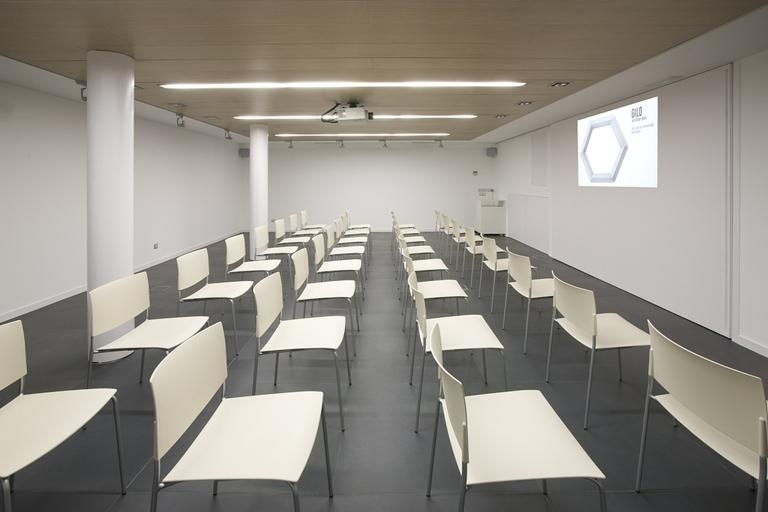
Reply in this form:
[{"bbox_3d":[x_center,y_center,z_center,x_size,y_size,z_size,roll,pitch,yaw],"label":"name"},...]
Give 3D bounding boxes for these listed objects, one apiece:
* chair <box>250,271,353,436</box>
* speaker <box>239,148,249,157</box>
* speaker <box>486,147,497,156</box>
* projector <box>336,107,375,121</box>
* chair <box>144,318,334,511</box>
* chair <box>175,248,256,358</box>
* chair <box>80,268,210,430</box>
[{"bbox_3d":[-1.042,1.151,5.763,1.278,1.820,1.732,0,5,1],"label":"chair"},{"bbox_3d":[-4.343,-3.184,15.478,0.318,0.268,0.283,4,4,1],"label":"speaker"},{"bbox_3d":[3.342,-3.248,15.612,0.326,0.275,0.308,5,4,5],"label":"speaker"},{"bbox_3d":[-0.497,-2.247,8.024,0.473,0.183,0.268,0,8,-2],"label":"projector"},{"bbox_3d":[-1.182,1.610,4.680,1.389,1.941,1.776,1,12,2],"label":"chair"},{"bbox_3d":[-2.212,0.529,6.621,0.846,1.122,1.166,3,10,3],"label":"chair"},{"bbox_3d":[-2.566,0.977,5.777,1.151,1.682,1.539,2,8,6],"label":"chair"}]
